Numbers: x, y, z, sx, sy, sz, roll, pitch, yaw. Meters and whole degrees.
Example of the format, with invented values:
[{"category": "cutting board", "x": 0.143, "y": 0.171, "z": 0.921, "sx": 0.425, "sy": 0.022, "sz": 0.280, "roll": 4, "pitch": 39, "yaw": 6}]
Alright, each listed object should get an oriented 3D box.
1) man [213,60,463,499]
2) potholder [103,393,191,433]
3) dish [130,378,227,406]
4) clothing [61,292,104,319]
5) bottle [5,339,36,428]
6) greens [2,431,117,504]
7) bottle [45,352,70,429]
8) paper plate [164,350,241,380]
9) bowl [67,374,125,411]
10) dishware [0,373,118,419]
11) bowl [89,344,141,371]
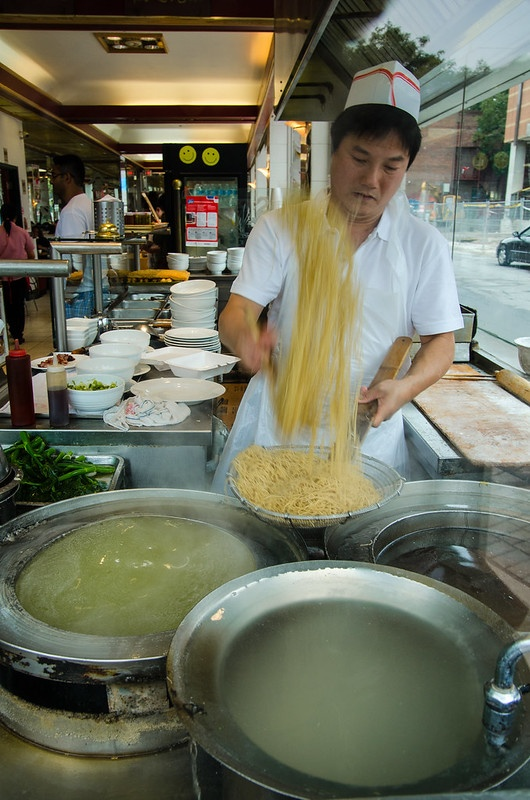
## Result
[{"category": "man", "x": 0.092, "y": -0.067, "z": 1.178, "sx": 0.359, "sy": 0.636, "sz": 0.343, "roll": 2, "pitch": 6, "yaw": 1}, {"category": "potholder", "x": -0.353, "y": 0.036, "z": 1.687, "sx": 0.254, "sy": 0.067, "sz": 0.176, "roll": -5, "pitch": 11, "yaw": -16}, {"category": "dish", "x": -0.295, "y": -0.034, "z": 1.905, "sx": 0.163, "sy": 0.021, "sz": 0.158, "roll": -8, "pitch": 20, "yaw": -41}, {"category": "clothing", "x": -1.265, "y": -0.656, "z": 3.821, "sx": 0.212, "sy": 0.161, "sz": 0.138, "roll": -2, "pitch": 12, "yaw": -1}, {"category": "bottle", "x": -0.712, "y": -0.047, "z": 1.629, "sx": 0.071, "sy": 0.243, "sz": 0.189, "roll": -7, "pitch": 13, "yaw": -22}, {"category": "greens", "x": -0.525, "y": 0.186, "z": 1.436, "sx": 0.242, "sy": 0.067, "sz": 0.184, "roll": 13, "pitch": 11, "yaw": -14}, {"category": "bottle", "x": -0.600, "y": -0.012, "z": 1.621, "sx": 0.059, "sy": 0.180, "sz": 0.074, "roll": -7, "pitch": 13, "yaw": -21}, {"category": "paper plate", "x": -0.254, "y": -0.137, "z": 2.162, "sx": 0.167, "sy": 0.041, "sz": 0.164, "roll": -16, "pitch": 27, "yaw": -42}, {"category": "bowl", "x": -0.523, "y": -0.019, "z": 1.723, "sx": 0.141, "sy": 0.073, "sz": 0.134, "roll": 1, "pitch": 20, "yaw": 0}, {"category": "dishware", "x": -0.591, "y": -0.009, "z": 1.742, "sx": 0.215, "sy": 0.048, "sz": 0.215, "roll": 8, "pitch": 14, "yaw": 27}, {"category": "bowl", "x": -0.561, "y": -0.184, "z": 2.126, "sx": 0.139, "sy": 0.063, "sz": 0.133, "roll": 2, "pitch": 18, "yaw": -1}]
